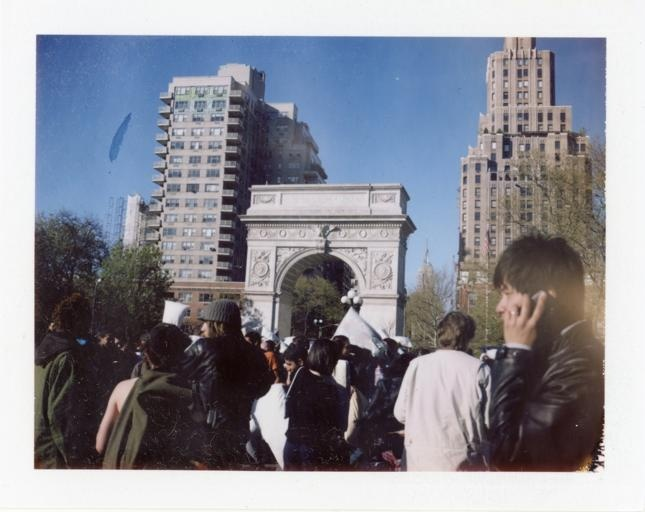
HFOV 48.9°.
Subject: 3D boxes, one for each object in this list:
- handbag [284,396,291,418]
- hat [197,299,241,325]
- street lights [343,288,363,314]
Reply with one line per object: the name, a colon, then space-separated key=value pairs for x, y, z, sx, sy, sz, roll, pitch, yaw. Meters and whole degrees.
handbag: x=-0.643 y=2.800 z=13.045 sx=0.104 sy=0.421 sz=0.351 roll=3 pitch=-3 yaw=-7
hat: x=-1.980 y=1.098 z=13.835 sx=0.602 sy=0.357 sz=0.495 roll=14 pitch=-13 yaw=-2
street lights: x=0.807 y=1.157 z=18.991 sx=0.629 sy=0.731 sz=0.672 roll=2 pitch=-9 yaw=1
